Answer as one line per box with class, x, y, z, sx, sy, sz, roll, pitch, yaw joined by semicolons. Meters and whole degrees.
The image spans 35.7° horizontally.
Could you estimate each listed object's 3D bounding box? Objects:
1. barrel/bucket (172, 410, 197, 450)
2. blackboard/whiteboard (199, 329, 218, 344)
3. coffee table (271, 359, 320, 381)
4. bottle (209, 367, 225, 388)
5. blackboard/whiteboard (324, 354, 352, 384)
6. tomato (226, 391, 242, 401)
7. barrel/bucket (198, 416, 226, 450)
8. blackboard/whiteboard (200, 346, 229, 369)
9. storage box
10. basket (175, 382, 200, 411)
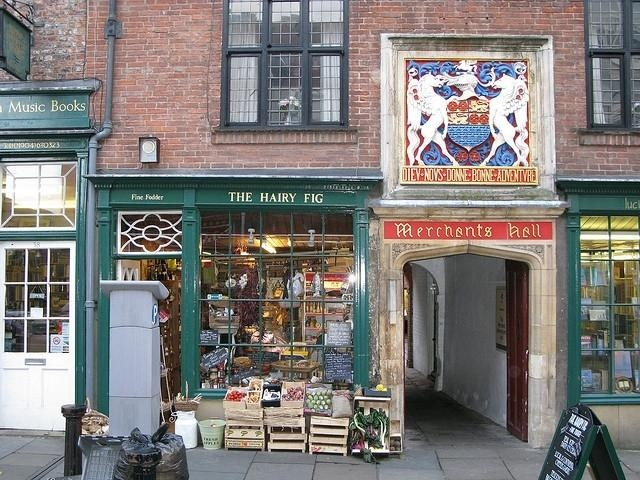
barrel/bucket;-2.274;3.203;16.935;0.452;0.607;0.402;-3;7;-45
blackboard/whiteboard;-1.935;1.704;17.289;0.415;0.269;0.215;2;-4;0
coffee table;-0.396;2.248;17.248;0.643;0.568;0.431;1;3;6
bottle;-1.781;2.399;17.270;0.324;0.485;0.325;-1;-3;0
blackboard/whiteboard;0.344;2.210;17.158;0.531;0.457;0.472;0;-1;2
tomato;-1.451;2.646;16.800;0.166;0.066;0.163;3;8;-1
barrel/bucket;-1.811;3.341;16.926;0.494;0.377;0.498;-1;-6;0
blackboard/whiteboard;-1.821;2.059;17.306;0.484;0.281;0.167;-21;8;-10
storage box;-0.211;3.009;16.732;2.772;1.220;0.422;-2;-2;5
basket;-2.261;2.773;17.018;0.428;0.395;0.293;4;-11;-6
